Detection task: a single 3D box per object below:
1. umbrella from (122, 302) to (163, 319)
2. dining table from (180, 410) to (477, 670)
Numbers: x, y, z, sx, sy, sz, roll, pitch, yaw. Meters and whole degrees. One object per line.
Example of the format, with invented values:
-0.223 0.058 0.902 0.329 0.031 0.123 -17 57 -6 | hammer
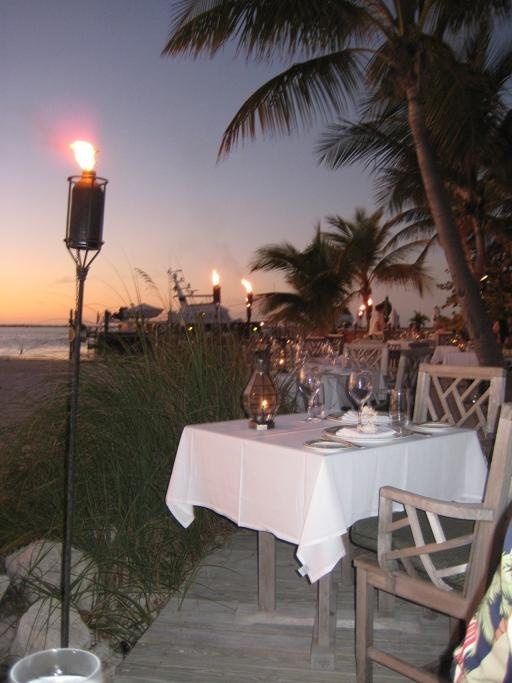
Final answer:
-0.800 -0.212 3.579 0.321 0.089 0.228 -2 -2 -27 | umbrella
0.239 0.436 2.104 1.150 0.822 0.803 -1 1 -45 | dining table
